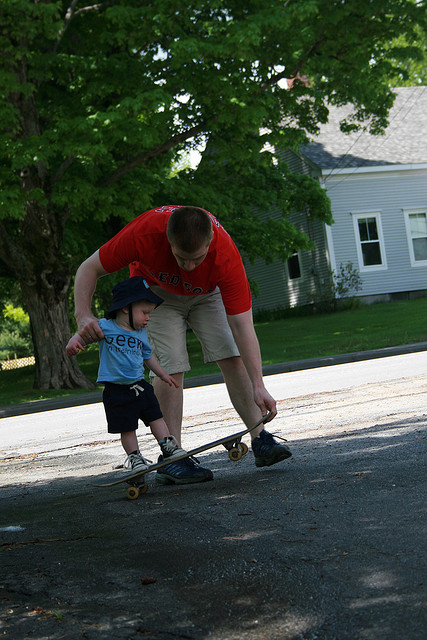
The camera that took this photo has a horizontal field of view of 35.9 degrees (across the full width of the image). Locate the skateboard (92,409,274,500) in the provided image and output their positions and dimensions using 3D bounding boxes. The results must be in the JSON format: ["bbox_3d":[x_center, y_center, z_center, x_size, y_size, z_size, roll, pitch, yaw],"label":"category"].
[{"bbox_3d":[-0.194,0.888,4.272,1.213,0.184,0.319,-19,-3,2],"label":"skateboard"}]

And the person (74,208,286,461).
[{"bbox_3d":[-0.152,0.073,3.979,1.033,1.607,1.060,4,21,32],"label":"person"}]

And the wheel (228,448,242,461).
[{"bbox_3d":[0.130,0.793,3.858,0.074,0.070,0.142,-14,4,-5],"label":"wheel"}]
